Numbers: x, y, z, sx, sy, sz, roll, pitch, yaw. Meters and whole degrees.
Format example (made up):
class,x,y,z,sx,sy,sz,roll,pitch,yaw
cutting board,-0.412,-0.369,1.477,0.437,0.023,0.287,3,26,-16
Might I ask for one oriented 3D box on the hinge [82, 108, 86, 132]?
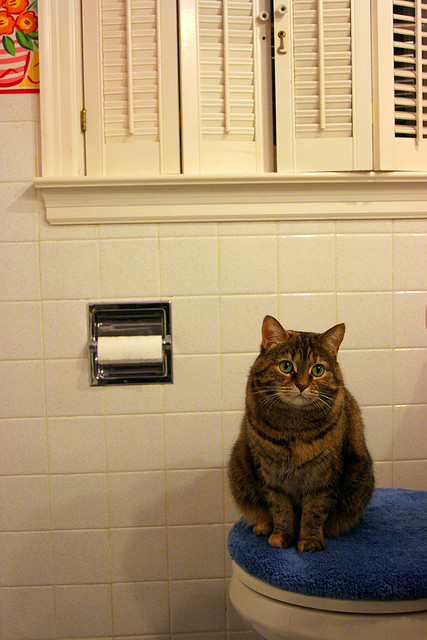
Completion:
class,x,y,z,sx,sy,sz,roll,pitch,yaw
hinge,-0.309,-0.481,1.609,0.011,0.050,0.005,-1,10,20

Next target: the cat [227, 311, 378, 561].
class,x,y,z,sx,sy,sz,roll,pitch,yaw
cat,0.190,0.232,1.425,0.285,0.483,0.389,2,3,5
